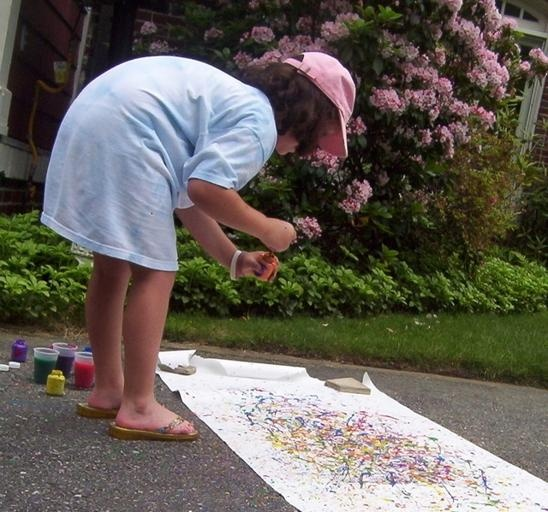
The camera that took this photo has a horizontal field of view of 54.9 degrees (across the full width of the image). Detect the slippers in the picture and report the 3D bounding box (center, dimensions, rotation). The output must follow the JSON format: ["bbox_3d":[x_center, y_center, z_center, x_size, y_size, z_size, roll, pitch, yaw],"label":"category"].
[{"bbox_3d":[-0.417,0.492,1.533,0.260,0.071,0.149,7,-3,-3],"label":"slippers"}]

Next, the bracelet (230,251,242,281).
[{"bbox_3d":[-0.136,0.035,1.795,0.018,0.085,0.057,4,19,-13],"label":"bracelet"}]

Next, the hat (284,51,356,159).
[{"bbox_3d":[0.171,-0.503,1.697,0.322,0.162,0.248,55,-5,-9],"label":"hat"}]

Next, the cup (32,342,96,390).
[{"bbox_3d":[-0.754,0.398,2.018,0.142,0.143,0.175,2,1,-4],"label":"cup"}]

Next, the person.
[{"bbox_3d":[-0.220,-0.061,1.708,0.817,1.244,0.603,6,10,-24],"label":"person"}]
